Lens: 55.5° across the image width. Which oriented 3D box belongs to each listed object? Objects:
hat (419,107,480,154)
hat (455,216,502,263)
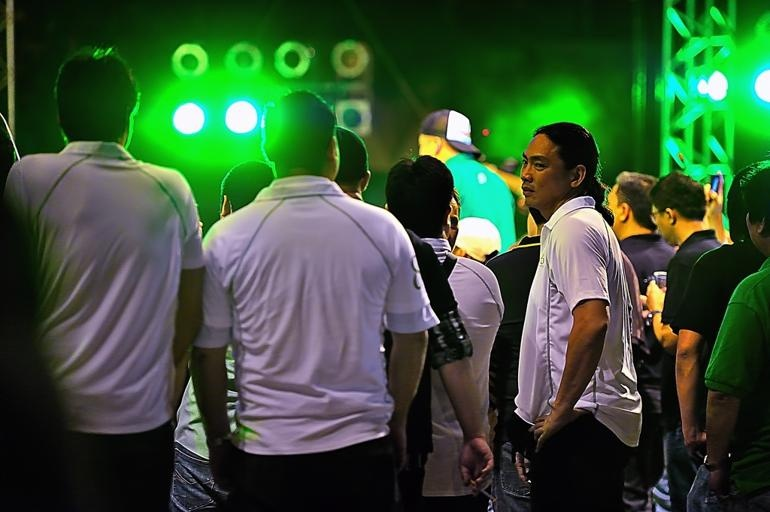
[{"bbox_3d":[0.547,-1.070,6.194,0.461,0.244,0.348,21,10,6],"label":"hat"},{"bbox_3d":[0.552,-0.118,4.646,0.225,0.275,0.301,21,12,23],"label":"hat"}]
